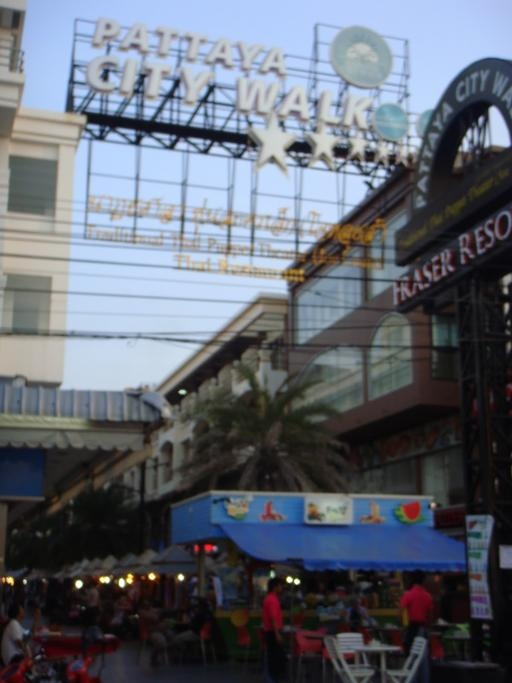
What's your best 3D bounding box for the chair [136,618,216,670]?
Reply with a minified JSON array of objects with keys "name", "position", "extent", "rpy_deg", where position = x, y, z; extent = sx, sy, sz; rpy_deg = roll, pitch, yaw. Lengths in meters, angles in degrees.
[{"name":"chair","position":[-1.860,6.598,25.641],"extent":[1.241,0.813,1.255],"rpy_deg":[3,-6,-34]}]
